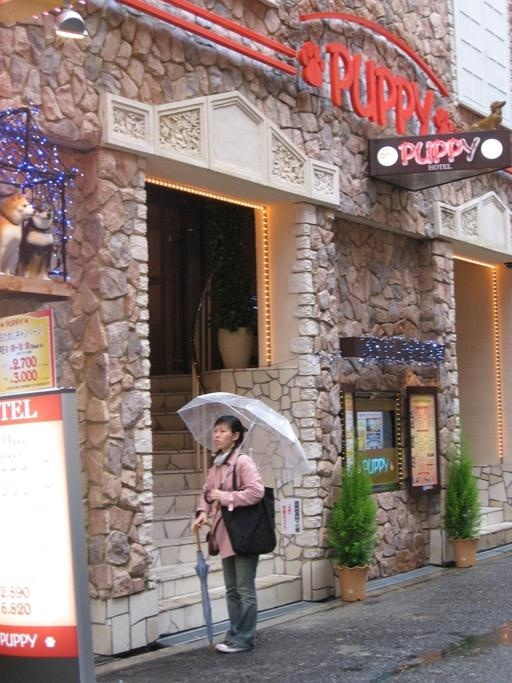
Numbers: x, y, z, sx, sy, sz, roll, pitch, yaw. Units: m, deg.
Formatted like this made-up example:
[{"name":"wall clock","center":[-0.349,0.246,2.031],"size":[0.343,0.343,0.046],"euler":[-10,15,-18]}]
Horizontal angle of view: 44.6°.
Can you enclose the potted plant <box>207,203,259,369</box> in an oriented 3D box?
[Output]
[{"name":"potted plant","center":[-0.392,-1.029,9.813],"size":[0.724,2.971,1.976],"euler":[-3,-5,-4]}]

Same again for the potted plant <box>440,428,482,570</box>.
[{"name":"potted plant","center":[2.991,2.379,9.119],"size":[0.502,1.706,0.559],"euler":[-5,-5,19]}]
